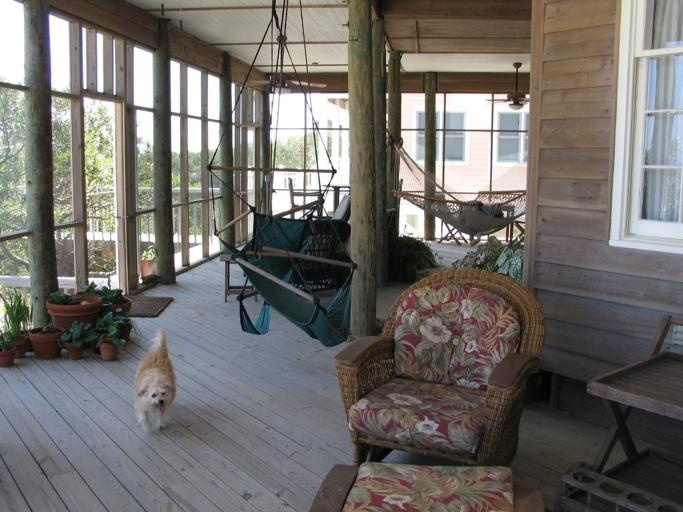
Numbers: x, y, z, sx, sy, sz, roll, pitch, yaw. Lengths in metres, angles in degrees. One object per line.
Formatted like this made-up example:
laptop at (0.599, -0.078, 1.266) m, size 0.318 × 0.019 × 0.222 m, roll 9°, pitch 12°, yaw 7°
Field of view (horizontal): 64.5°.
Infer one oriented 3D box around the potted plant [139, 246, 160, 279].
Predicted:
potted plant at (-2.664, 0.080, 7.454) m, size 0.338 × 0.501 × 0.354 m, roll -2°, pitch 5°, yaw -14°

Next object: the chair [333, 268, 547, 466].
chair at (0.625, 0.633, 3.341) m, size 1.074 × 1.228 × 1.100 m, roll 7°, pitch 7°, yaw 25°

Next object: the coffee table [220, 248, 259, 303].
coffee table at (-1.415, 0.100, 7.036) m, size 0.594 × 0.894 × 0.641 m, roll 1°, pitch 7°, yaw -21°
